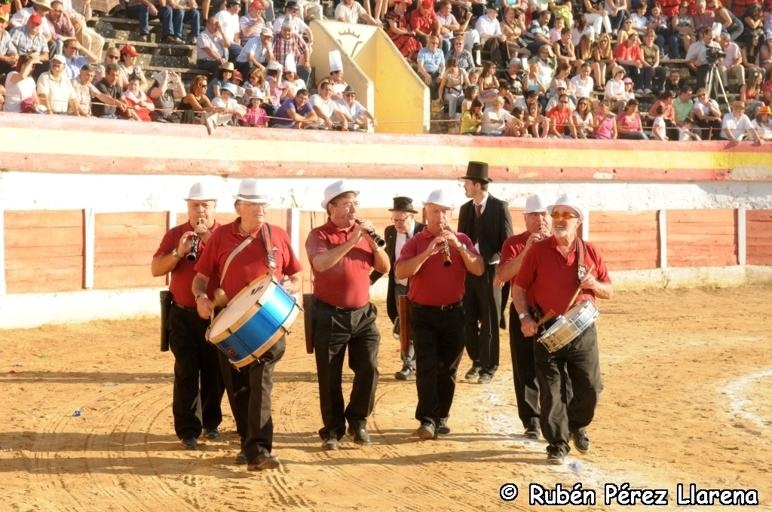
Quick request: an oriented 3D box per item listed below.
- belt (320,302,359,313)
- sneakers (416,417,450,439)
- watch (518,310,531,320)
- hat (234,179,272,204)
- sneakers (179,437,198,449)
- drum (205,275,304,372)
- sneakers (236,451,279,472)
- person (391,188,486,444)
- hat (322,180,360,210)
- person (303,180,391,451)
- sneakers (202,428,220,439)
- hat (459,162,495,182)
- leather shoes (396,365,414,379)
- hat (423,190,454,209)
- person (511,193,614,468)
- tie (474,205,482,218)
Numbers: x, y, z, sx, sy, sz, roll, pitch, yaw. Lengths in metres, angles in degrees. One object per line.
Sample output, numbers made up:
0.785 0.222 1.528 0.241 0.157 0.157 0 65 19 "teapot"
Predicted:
-0.677 0.742 18.513 0.596 0.199 0.061 -3 4 -4 "belt"
0.689 2.535 18.974 0.207 0.242 0.564 -10 -14 23 "sneakers"
1.909 0.859 18.392 0.122 0.047 0.117 -31 5 -41 "watch"
-1.832 -0.858 18.086 0.411 0.346 0.266 -4 4 -10 "hat"
-2.764 2.692 18.641 0.131 0.101 0.293 2 8 17 "sneakers"
-1.868 0.892 18.227 1.264 0.734 1.292 -36 18 14 "drum"
-1.797 2.850 18.054 0.638 0.259 0.250 -5 -5 17 "sneakers"
0.737 0.867 18.934 1.126 3.596 0.561 -3 4 0 "person"
-0.680 -0.889 18.603 0.450 0.171 0.383 -29 -8 33 "hat"
-0.549 0.857 18.600 1.039 3.786 0.553 -3 4 -3 "person"
-2.494 2.584 18.949 0.124 0.104 0.287 -11 9 -31 "sneakers"
1.361 -1.307 20.503 0.378 0.192 0.383 -5 18 -30 "hat"
0.301 1.934 21.316 0.143 0.151 0.357 -3 -10 23 "leather shoes"
0.740 -0.795 18.971 0.384 0.291 0.388 -3 4 1 "hat"
2.490 1.045 18.379 1.234 3.726 0.667 -4 4 -6 "person"
1.438 -0.681 20.638 0.102 0.160 0.049 0 0 13 "tie"
